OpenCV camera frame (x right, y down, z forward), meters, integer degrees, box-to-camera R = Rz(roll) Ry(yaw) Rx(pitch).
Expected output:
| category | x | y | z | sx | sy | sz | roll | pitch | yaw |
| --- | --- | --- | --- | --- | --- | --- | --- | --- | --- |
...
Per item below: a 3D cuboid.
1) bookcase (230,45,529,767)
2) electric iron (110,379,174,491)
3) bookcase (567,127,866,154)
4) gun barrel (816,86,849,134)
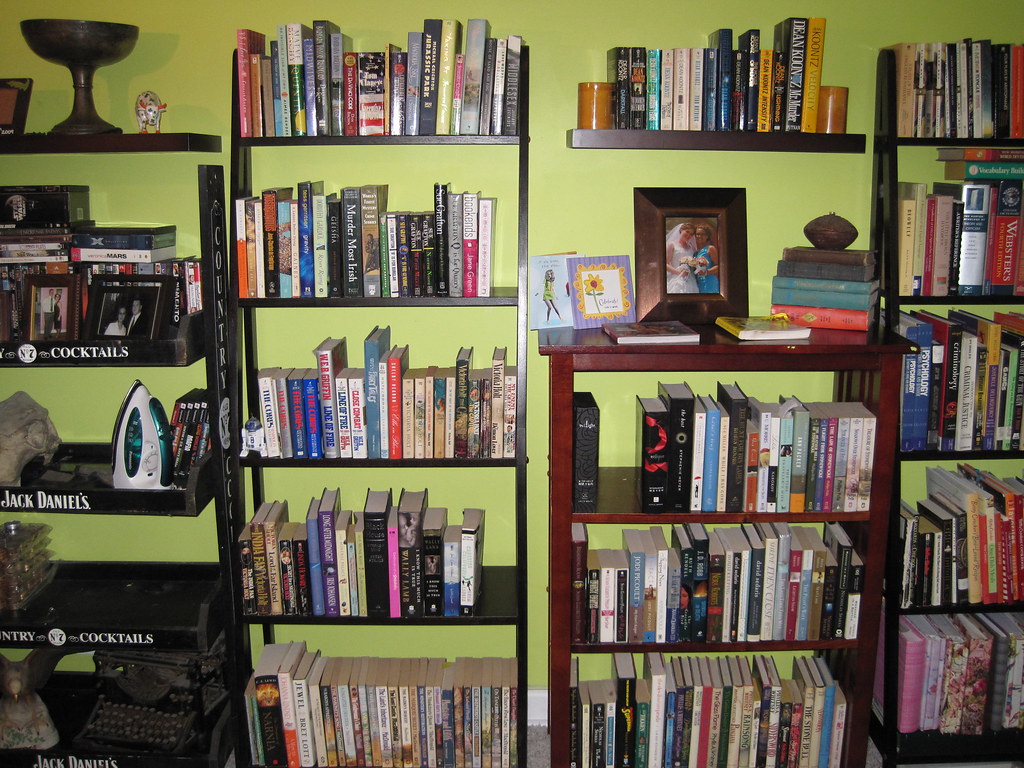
| category | x | y | z | sx | sy | sz | roll | pitch | yaw |
| --- | --- | --- | --- | --- | --- | --- | --- | --- | --- |
| bookcase | -0.405 | 0.093 | 3.237 | 0.955 | 2.390 | 0.391 | -1 | 8 | -1 |
| electric iron | -1.187 | 0.168 | 3.149 | 0.189 | 0.335 | 0.116 | -3 | 8 | -15 |
| bookcase | 0.642 | -0.766 | 3.109 | 0.915 | 0.084 | 0.123 | -1 | 8 | 0 |
| gun barrel | 1.017 | -0.884 | 3.114 | 0.102 | 0.160 | 0.100 | -6 | 40 | 5 |
